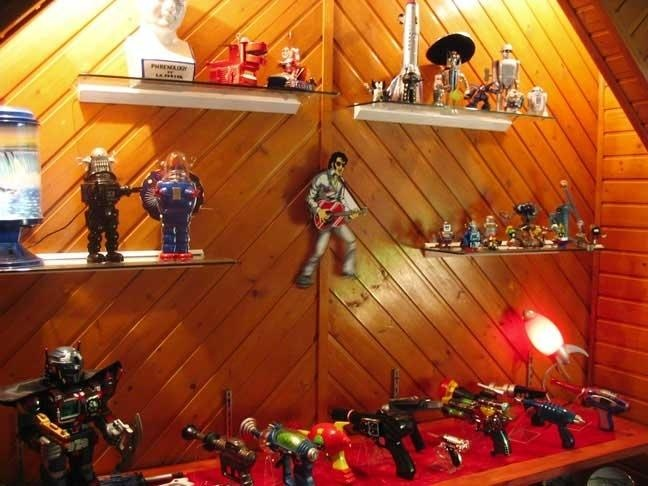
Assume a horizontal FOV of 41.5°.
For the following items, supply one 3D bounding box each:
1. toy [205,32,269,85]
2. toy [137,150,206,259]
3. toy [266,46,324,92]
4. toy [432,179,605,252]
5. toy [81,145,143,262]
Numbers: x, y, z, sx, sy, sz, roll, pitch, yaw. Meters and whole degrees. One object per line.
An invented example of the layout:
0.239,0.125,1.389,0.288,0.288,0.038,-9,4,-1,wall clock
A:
-0.378,-0.775,3.598,0.237,0.213,0.181,9,11,29,toy
-0.632,-0.161,3.532,0.247,0.482,0.276,-1,-18,-1,toy
-0.139,-0.744,3.669,0.233,0.243,0.089,4,-19,-17,toy
0.945,-0.117,4.293,1.051,0.462,0.367,-1,-2,-13,toy
-0.863,-0.165,3.432,0.231,0.496,0.172,4,-18,-16,toy
